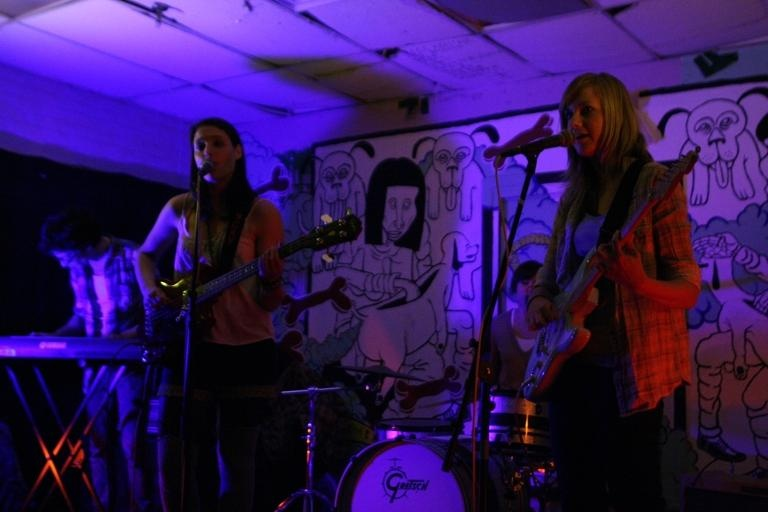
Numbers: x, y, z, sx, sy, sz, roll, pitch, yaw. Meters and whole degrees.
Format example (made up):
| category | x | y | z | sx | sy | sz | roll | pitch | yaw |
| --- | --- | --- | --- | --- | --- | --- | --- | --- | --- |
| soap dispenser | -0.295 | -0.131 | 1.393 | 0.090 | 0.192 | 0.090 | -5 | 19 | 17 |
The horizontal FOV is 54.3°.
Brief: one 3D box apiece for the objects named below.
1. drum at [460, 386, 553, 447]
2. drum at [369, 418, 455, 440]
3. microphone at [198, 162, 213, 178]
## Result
| category | x | y | z | sx | sy | sz | roll | pitch | yaw |
| --- | --- | --- | --- | --- | --- | --- | --- | --- | --- |
| drum | 0.913 | 1.150 | 5.206 | 0.496 | 0.333 | 0.517 | 1 | -12 | 0 |
| drum | 0.213 | 1.299 | 5.538 | 0.567 | 0.174 | 0.397 | 0 | -1 | 2 |
| microphone | -1.114 | -0.528 | 4.644 | 0.063 | 0.046 | 0.091 | 1 | 29 | 22 |
